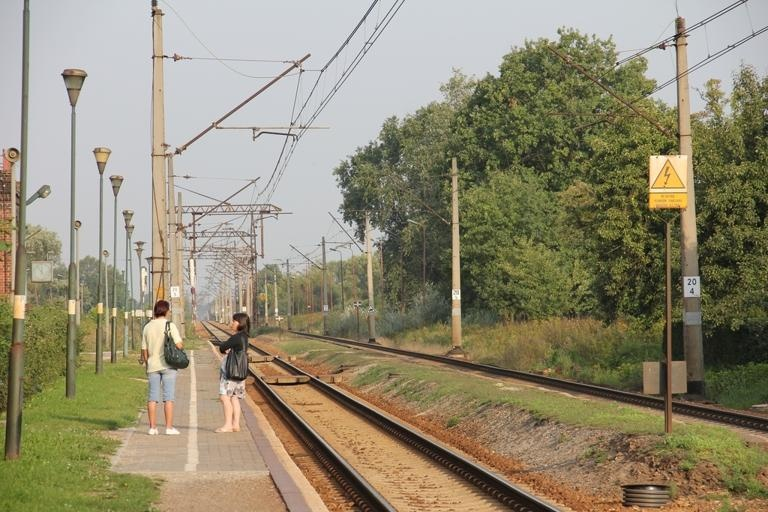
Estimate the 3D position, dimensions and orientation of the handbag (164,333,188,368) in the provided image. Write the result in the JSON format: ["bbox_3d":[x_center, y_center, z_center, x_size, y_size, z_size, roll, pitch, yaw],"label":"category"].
[{"bbox_3d":[-5.425,2.432,23.692,0.401,0.991,0.682,-31,-33,31],"label":"handbag"}]

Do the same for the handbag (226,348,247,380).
[{"bbox_3d":[-3.935,2.845,24.321,0.699,0.993,0.482,2,-7,-13],"label":"handbag"}]

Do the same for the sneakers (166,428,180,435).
[{"bbox_3d":[-5.590,4.618,24.347,0.383,0.182,0.173,1,1,-34],"label":"sneakers"}]

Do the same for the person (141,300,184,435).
[{"bbox_3d":[-5.747,2.859,23.722,0.935,3.407,1.290,0,-6,-35],"label":"person"}]

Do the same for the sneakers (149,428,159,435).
[{"bbox_3d":[-6.124,4.613,24.254,0.124,0.142,0.360,0,-12,-3],"label":"sneakers"}]
